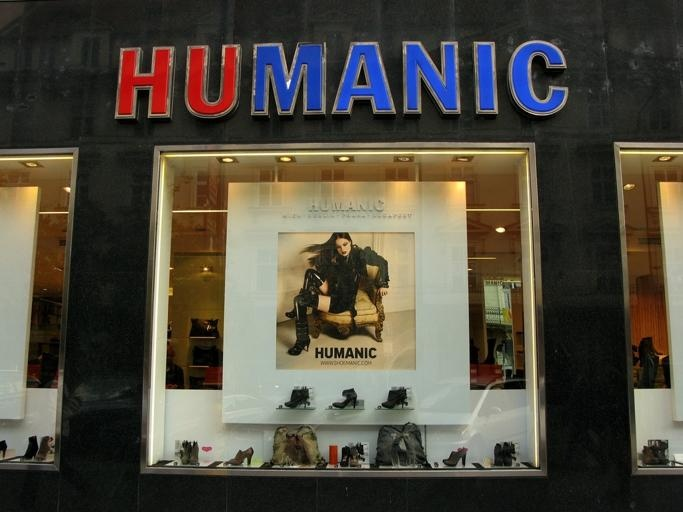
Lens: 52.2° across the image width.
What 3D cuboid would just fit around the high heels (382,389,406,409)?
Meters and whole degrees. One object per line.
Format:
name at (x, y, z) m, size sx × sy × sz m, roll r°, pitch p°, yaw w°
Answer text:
high heels at (0.594, 1.556, 7.584) m, size 0.341 × 0.245 × 0.129 m, roll -2°, pitch -6°, yaw -2°

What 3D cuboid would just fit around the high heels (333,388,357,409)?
high heels at (0.009, 1.576, 7.600) m, size 0.319 × 0.247 × 0.131 m, roll -1°, pitch -7°, yaw 1°

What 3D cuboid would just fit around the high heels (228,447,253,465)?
high heels at (-1.124, 2.189, 7.537) m, size 0.330 × 0.181 × 0.111 m, roll -6°, pitch -11°, yaw -2°

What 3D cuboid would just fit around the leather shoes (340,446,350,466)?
leather shoes at (0.046, 2.175, 7.499) m, size 0.132 × 0.221 × 0.154 m, roll 2°, pitch -34°, yaw -2°

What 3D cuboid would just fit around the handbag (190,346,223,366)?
handbag at (-1.497, 1.103, 7.702) m, size 0.363 × 0.280 × 0.205 m, roll 0°, pitch -6°, yaw 5°

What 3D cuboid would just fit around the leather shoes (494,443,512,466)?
leather shoes at (1.744, 2.131, 7.457) m, size 0.219 × 0.220 × 0.125 m, roll -1°, pitch -2°, yaw 13°

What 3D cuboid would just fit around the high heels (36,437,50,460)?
high heels at (-3.237, 2.108, 7.591) m, size 0.097 × 0.201 × 0.299 m, roll 0°, pitch -11°, yaw -5°

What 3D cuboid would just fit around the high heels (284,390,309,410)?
high heels at (-0.452, 1.565, 7.548) m, size 0.330 × 0.246 × 0.132 m, roll 2°, pitch -3°, yaw -2°

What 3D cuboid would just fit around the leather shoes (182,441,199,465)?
leather shoes at (-1.654, 2.146, 7.572) m, size 0.200 × 0.220 × 0.103 m, roll -1°, pitch -2°, yaw -10°
